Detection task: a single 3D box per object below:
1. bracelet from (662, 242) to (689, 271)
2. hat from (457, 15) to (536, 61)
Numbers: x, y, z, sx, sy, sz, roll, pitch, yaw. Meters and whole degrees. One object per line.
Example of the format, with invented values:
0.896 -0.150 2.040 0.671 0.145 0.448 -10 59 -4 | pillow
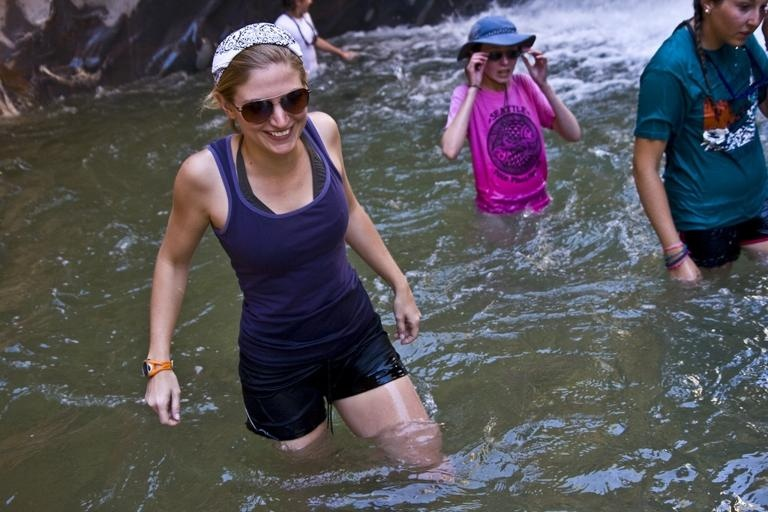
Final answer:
2.005 0.010 6.272 0.185 0.097 0.167 -41 6 40 | bracelet
0.844 -1.719 7.043 0.622 0.279 0.330 7 33 40 | hat
